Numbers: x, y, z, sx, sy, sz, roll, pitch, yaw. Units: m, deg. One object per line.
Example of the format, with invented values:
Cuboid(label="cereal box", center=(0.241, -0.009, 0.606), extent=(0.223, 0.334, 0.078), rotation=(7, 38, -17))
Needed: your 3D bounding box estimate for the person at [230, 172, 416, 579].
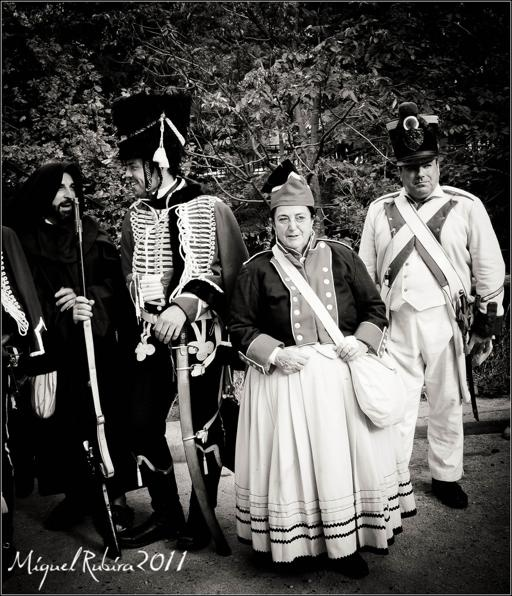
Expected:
Cuboid(label="person", center=(0.278, 0.302, 3.581), extent=(0.848, 1.857, 0.721), rotation=(-3, 14, 9))

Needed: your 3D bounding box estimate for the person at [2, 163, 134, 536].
Cuboid(label="person", center=(-0.863, 0.268, 4.256), extent=(0.672, 1.882, 0.799), rotation=(-6, 0, -42))

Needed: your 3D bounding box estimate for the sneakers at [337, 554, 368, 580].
Cuboid(label="sneakers", center=(0.456, 1.246, 3.567), extent=(0.151, 0.118, 0.090), rotation=(2, 2, 33))

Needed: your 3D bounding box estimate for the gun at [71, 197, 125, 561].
Cuboid(label="gun", center=(-0.832, 0.465, 4.020), extent=(0.111, 1.868, 0.424), rotation=(-5, 3, -24))

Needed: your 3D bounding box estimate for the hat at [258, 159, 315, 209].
Cuboid(label="hat", center=(0.142, -0.534, 3.662), extent=(0.250, 0.176, 0.269), rotation=(-1, -6, -7))

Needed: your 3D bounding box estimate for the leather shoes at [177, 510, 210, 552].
Cuboid(label="leather shoes", center=(-0.324, 1.188, 3.868), extent=(0.151, 0.185, 0.087), rotation=(-2, 14, 12))

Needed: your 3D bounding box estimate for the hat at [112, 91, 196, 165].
Cuboid(label="hat", center=(-0.518, -0.847, 3.965), extent=(0.472, 0.324, 0.396), rotation=(-1, 2, -7))

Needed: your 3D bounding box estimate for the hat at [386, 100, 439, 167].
Cuboid(label="hat", center=(0.875, -0.919, 4.278), extent=(0.280, 0.357, 0.316), rotation=(-2, 13, 10))
